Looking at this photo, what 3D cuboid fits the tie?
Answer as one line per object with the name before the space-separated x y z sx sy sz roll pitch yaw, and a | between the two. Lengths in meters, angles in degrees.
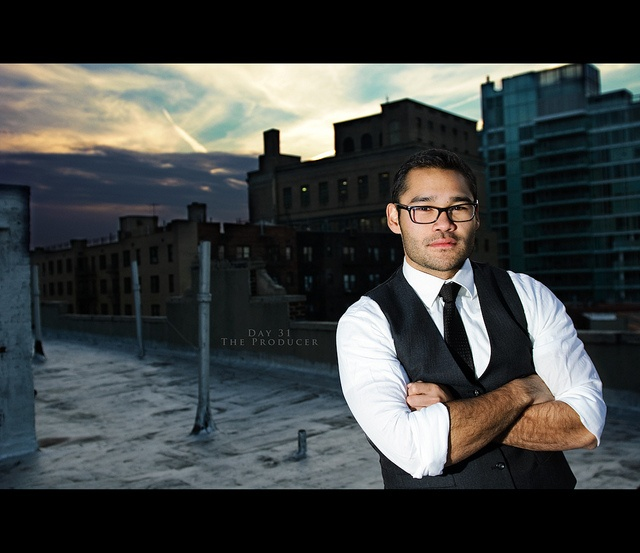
tie | 0.795 0.298 3.517 0.162 0.085 0.687 -12 45 10
